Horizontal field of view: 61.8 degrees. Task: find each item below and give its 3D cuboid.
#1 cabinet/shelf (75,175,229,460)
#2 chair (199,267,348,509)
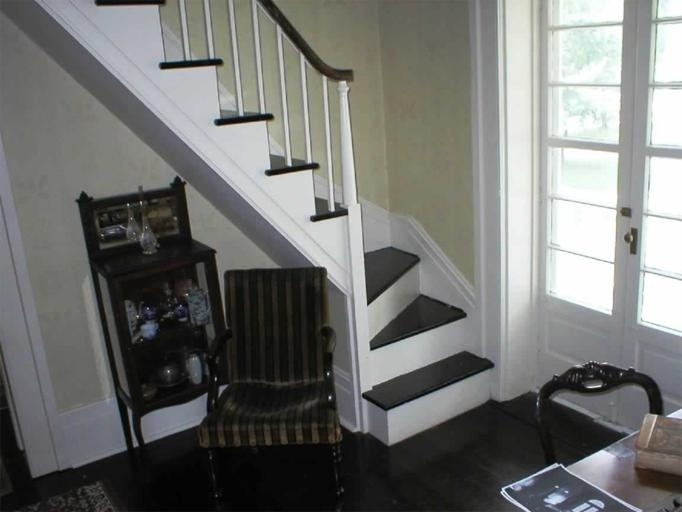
[{"bbox_3d":[-1.239,0.438,3.985,0.760,1.890,0.479,-15,22,-32],"label":"cabinet/shelf"},{"bbox_3d":[-0.466,0.799,3.700,0.879,1.228,1.022,-3,11,-9],"label":"chair"}]
